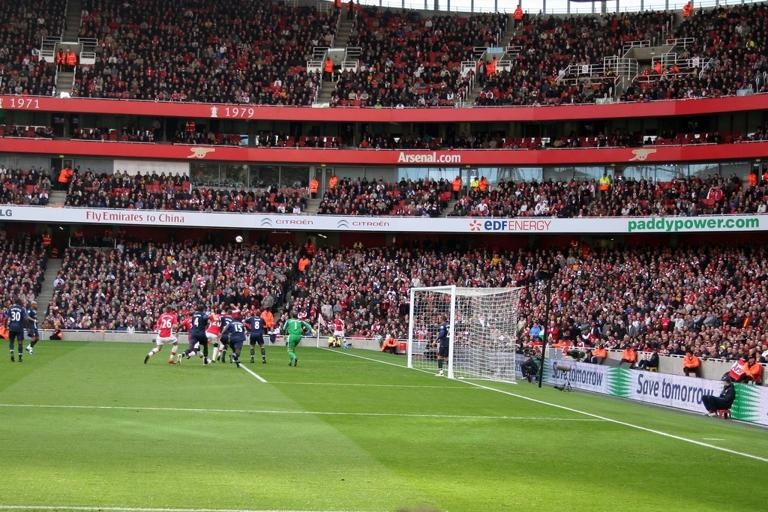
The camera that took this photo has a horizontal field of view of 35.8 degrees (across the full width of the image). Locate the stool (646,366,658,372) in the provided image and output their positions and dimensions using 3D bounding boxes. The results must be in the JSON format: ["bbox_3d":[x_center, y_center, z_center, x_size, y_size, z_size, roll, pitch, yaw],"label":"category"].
[{"bbox_3d":[11.942,5.033,53.306,0.419,0.411,0.428,-1,0,15],"label":"stool"}]

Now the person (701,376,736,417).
[{"bbox_3d":[13.223,5.485,47.153,1.164,1.610,1.030,8,-1,-6],"label":"person"}]

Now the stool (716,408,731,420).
[{"bbox_3d":[13.271,6.160,46.802,0.569,0.365,0.233,3,0,12],"label":"stool"}]

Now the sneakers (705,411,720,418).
[{"bbox_3d":[12.909,6.222,47.005,0.148,0.212,0.449,5,-2,-37],"label":"sneakers"}]
